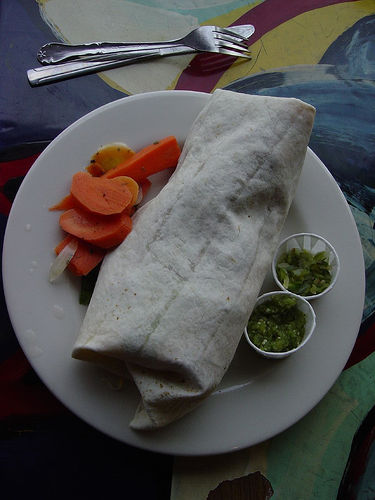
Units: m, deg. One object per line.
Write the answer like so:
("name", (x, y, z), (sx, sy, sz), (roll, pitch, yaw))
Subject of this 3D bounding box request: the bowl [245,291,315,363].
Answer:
("bowl", (0.267, 0.216, 1.344), (0.228, 0.089, 0.200), (-6, 83, -4))

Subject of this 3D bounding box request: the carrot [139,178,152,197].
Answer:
("carrot", (-0.134, -0.195, 1.452), (0.055, 0.016, 0.063), (1, 93, -14))

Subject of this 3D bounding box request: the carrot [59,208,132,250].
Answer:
("carrot", (-0.249, -0.073, 1.359), (0.226, 0.117, 0.057), (1, 66, 17))

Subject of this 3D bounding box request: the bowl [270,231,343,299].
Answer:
("bowl", (0.359, 0.049, 1.397), (0.220, 0.081, 0.194), (-5, 83, 7))

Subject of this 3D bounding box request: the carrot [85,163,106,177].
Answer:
("carrot", (-0.279, -0.245, 1.418), (0.051, 0.046, 0.011), (-17, 32, -14))

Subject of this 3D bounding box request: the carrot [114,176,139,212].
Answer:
("carrot", (-0.172, -0.170, 1.369), (0.091, 0.019, 0.083), (-21, 77, 36))

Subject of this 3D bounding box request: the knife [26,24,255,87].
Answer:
("knife", (-0.182, -0.644, 1.548), (1.123, 0.080, 0.110), (-8, 90, -6))

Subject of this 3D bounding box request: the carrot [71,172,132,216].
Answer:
("carrot", (-0.248, -0.160, 1.331), (0.155, 0.039, 0.116), (37, 76, 3))

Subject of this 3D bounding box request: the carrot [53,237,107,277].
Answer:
("carrot", (-0.307, 0.013, 1.312), (0.125, 0.048, 0.119), (32, 80, 0))
